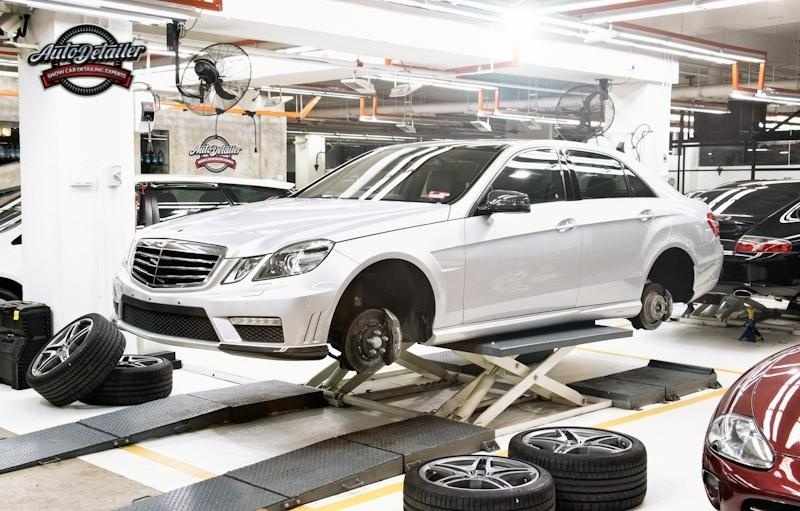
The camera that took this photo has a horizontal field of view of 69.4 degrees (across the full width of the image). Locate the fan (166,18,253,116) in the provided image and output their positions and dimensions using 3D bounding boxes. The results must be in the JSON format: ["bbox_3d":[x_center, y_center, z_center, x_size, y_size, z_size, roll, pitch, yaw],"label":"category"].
[{"bbox_3d":[-2.956,-2.685,8.616,1.220,1.172,1.225,-3,-1,38],"label":"fan"}]

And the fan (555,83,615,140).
[{"bbox_3d":[3.648,-2.769,11.462,1.346,0.662,1.436,-9,-8,5],"label":"fan"}]
